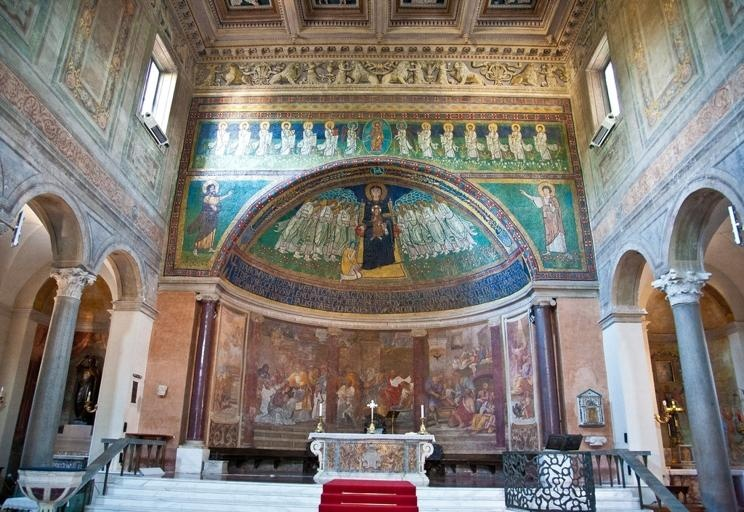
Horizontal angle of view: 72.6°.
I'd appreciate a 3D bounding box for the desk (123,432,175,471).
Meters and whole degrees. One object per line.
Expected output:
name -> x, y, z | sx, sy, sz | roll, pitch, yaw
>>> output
desk -> -6.345, 5.497, 14.247 | 1.362, 1.040, 1.373 | 7, -26, -18
